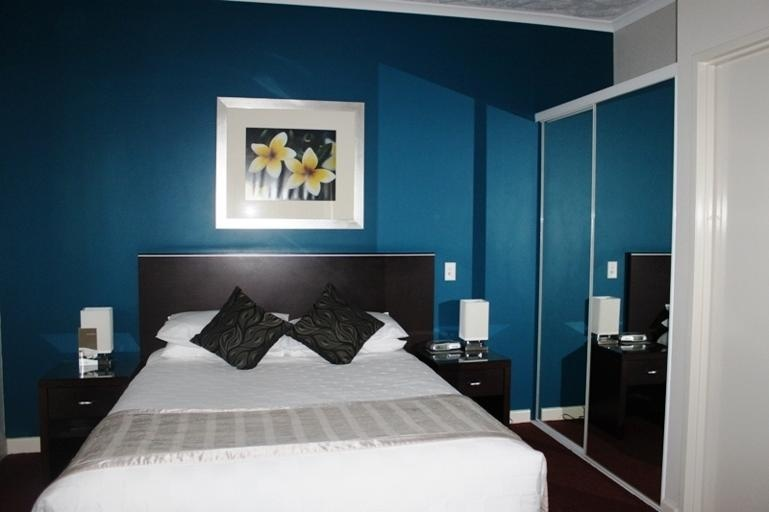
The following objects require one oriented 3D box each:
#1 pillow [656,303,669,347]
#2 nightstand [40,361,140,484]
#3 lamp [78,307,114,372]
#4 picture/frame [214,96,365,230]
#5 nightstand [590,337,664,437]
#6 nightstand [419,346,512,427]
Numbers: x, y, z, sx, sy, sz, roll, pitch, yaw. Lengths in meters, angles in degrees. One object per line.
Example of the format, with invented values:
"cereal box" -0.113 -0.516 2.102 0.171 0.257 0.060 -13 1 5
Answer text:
"pillow" 2.002 0.489 3.985 0.030 0.299 0.104 -1 4 -12
"nightstand" -2.344 1.244 4.560 0.746 0.822 0.847 -2 6 -15
"lamp" -2.269 0.677 4.569 0.296 0.518 0.293 -1 0 16
"picture/frame" -0.889 -0.825 4.851 1.193 0.986 0.090 1 -2 -10
"nightstand" 1.975 0.980 4.208 0.422 0.517 0.436 -3 -1 32
"nightstand" 0.628 0.968 4.803 0.737 0.777 0.578 -1 5 -22
